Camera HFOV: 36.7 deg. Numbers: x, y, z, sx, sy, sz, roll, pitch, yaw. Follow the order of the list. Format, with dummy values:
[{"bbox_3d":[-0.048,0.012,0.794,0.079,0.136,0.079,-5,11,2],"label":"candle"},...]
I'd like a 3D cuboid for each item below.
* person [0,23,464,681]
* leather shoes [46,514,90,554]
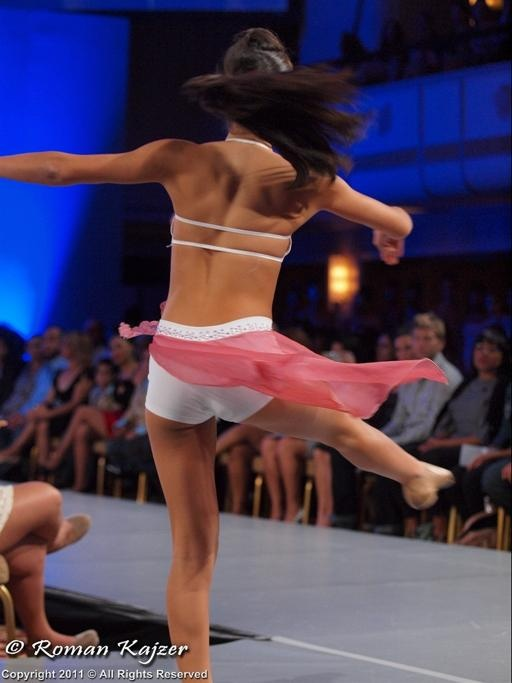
[{"bbox_3d":[-0.063,0.065,1.512,0.840,1.099,0.294,5,-2,-14],"label":"person"},{"bbox_3d":[-0.530,0.545,2.259,0.067,0.073,0.192,17,19,11],"label":"leather shoes"}]
